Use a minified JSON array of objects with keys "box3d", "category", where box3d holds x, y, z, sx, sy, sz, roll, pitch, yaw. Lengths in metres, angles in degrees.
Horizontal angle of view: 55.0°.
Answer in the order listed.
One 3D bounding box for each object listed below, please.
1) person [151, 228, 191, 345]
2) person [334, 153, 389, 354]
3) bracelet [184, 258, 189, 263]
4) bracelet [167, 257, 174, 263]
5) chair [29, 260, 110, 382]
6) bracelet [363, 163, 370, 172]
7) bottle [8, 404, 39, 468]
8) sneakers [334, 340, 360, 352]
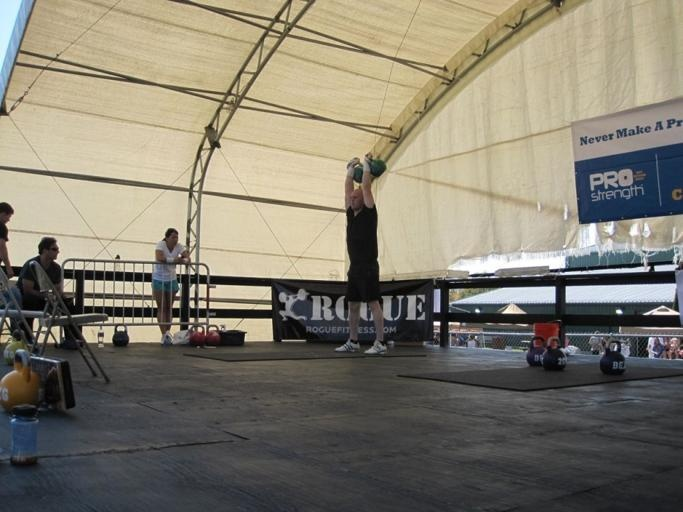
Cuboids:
[{"box3d":[-2.790,0.457,10.677,0.561,1.867,0.970,2,-2,-17],"category":"person"},{"box3d":[0.314,-0.045,8.691,0.574,2.662,0.777,2,-2,-30],"category":"person"},{"box3d":[-2.469,0.066,10.495,0.086,0.093,0.233,2,-3,-12],"category":"bracelet"},{"box3d":[-2.734,0.054,10.484,0.081,0.069,0.087,4,-4,-8],"category":"bracelet"},{"box3d":[-2.385,0.567,5.743,0.644,0.975,0.648,3,0,-1],"category":"chair"},{"box3d":[0.327,-1.155,8.468,0.096,0.174,0.107,-1,-5,-2],"category":"bracelet"},{"box3d":[-1.558,0.861,3.226,0.122,0.277,0.217,2,-2,-27],"category":"bottle"},{"box3d":[0.077,1.211,8.892,0.385,0.190,0.143,4,-8,-18],"category":"sneakers"}]
